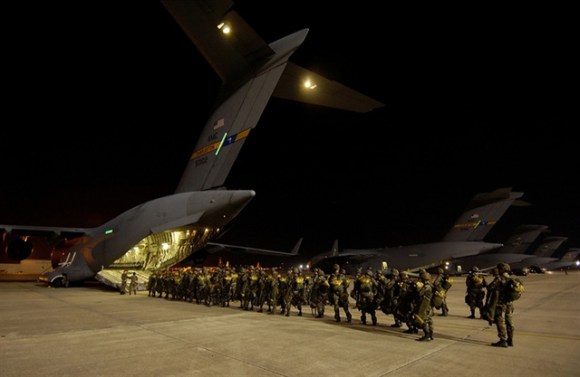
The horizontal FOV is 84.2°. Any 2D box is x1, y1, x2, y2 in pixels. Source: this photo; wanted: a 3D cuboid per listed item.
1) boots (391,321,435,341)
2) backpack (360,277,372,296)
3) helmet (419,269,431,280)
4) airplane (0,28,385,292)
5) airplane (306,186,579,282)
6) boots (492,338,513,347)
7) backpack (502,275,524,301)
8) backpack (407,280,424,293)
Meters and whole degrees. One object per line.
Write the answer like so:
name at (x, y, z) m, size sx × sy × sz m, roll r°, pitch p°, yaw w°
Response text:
boots at (3.954, 4.318, 9.904) m, size 0.619 × 0.639 × 0.629 m, roll 15°, pitch -26°, yaw -41°
backpack at (2.758, 3.537, 11.740) m, size 0.455 × 0.660 × 0.309 m, roll 4°, pitch -15°, yaw 9°
helmet at (4.272, 2.749, 10.330) m, size 0.303 × 0.303 × 0.311 m, roll 0°, pitch -15°, yaw 20°
airplane at (-6.306, 0.104, 19.925) m, size 18.219 × 6.807 × 19.313 m, roll 4°, pitch -10°, yaw -40°
airplane at (16.328, 6.902, 41.632) m, size 21.419 × 6.419 × 20.444 m, roll 4°, pitch -7°, yaw -35°
boots at (6.042, 4.411, 9.248) m, size 0.567 × 0.202 × 0.292 m, roll 0°, pitch -15°, yaw 18°
backpack at (6.443, 2.974, 9.440) m, size 0.448 × 0.631 × 0.398 m, roll -4°, pitch -18°, yaw 32°
backpack at (3.935, 3.101, 10.270) m, size 0.360 × 0.342 × 0.352 m, roll 0°, pitch 17°, yaw -27°
